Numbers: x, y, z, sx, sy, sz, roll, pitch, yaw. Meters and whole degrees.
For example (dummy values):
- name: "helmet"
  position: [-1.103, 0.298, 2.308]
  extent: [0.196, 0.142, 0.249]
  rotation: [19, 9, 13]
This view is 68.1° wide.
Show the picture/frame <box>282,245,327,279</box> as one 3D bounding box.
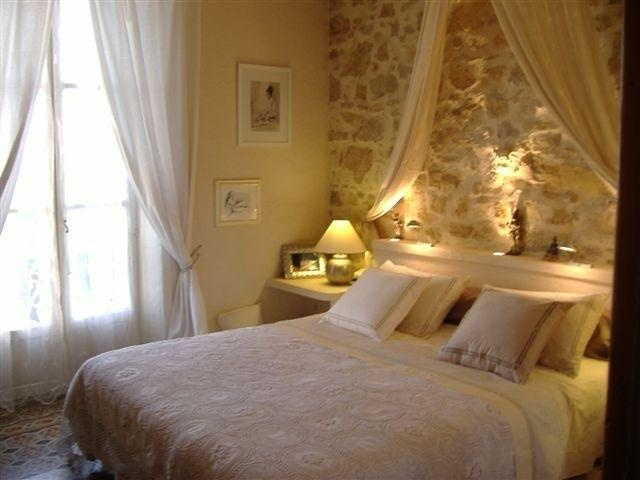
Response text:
- name: "picture/frame"
  position: [-0.143, 0.196, 4.637]
  extent: [0.476, 0.355, 0.032]
  rotation: [1, -14, -12]

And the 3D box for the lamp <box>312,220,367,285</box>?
- name: "lamp"
  position: [0.158, 0.082, 4.583]
  extent: [0.525, 0.662, 0.546]
  rotation: [-1, 5, -20]

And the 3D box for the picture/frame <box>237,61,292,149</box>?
- name: "picture/frame"
  position: [-0.540, -1.286, 4.397]
  extent: [0.712, 0.920, 0.058]
  rotation: [-10, 18, -36]

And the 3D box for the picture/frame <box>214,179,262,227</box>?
- name: "picture/frame"
  position: [-0.775, -0.356, 4.334]
  extent: [0.395, 0.366, 0.038]
  rotation: [-7, 11, -39]
